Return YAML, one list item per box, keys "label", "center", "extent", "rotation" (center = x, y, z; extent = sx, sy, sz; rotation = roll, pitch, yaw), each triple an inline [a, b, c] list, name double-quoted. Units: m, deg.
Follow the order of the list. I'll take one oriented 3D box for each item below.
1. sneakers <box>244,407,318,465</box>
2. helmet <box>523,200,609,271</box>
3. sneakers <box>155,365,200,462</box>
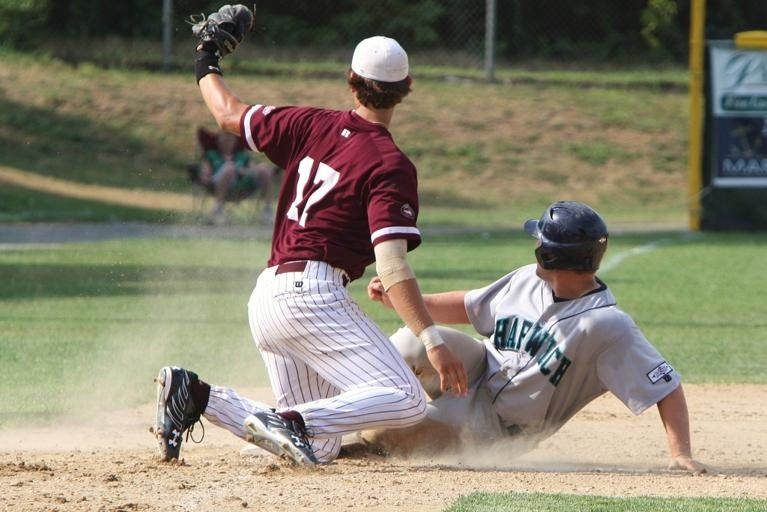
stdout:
- label: "sneakers"
  center: [-0.633, 1.106, 11.563]
  extent: [0.352, 0.123, 0.197]
  rotation: [30, 50, 15]
- label: "helmet"
  center: [1.122, -0.132, 11.611]
  extent: [0.454, 0.371, 0.353]
  rotation: [23, 18, 20]
- label: "sneakers"
  center: [-1.303, 0.959, 11.816]
  extent: [0.270, 0.682, 0.225]
  rotation: [7, 2, 16]
